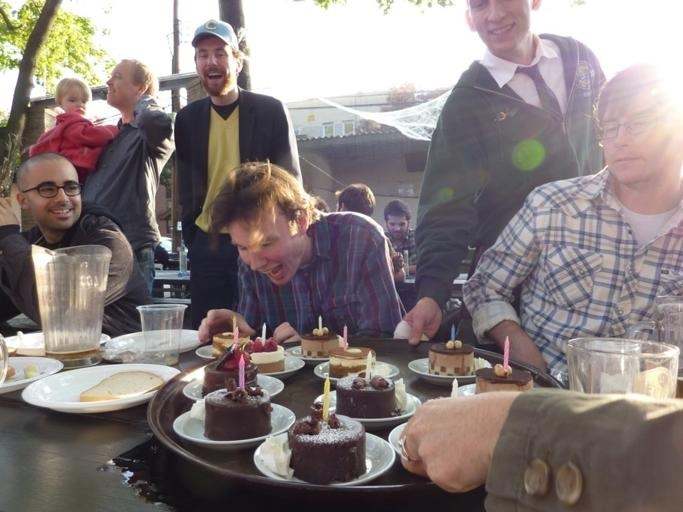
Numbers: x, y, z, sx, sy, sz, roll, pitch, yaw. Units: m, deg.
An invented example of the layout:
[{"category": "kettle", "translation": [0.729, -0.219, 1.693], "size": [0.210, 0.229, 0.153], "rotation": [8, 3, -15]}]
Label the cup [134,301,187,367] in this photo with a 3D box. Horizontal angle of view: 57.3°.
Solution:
[{"category": "cup", "translation": [-0.826, 0.359, 2.993], "size": [0.267, 0.283, 0.250], "rotation": [4, 5, 0]}]

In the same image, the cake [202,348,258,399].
[{"category": "cake", "translation": [-0.478, 0.485, 2.624], "size": [0.176, 0.108, 0.178], "rotation": [8, 8, 30]}]

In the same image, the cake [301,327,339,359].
[{"category": "cake", "translation": [-0.107, 0.444, 3.225], "size": [0.149, 0.091, 0.150], "rotation": [3, 3, 28]}]

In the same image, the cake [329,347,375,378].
[{"category": "cake", "translation": [0.032, 0.493, 2.911], "size": [0.172, 0.098, 0.172], "rotation": [0, -6, 7]}]

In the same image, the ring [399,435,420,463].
[{"category": "ring", "translation": [0.193, 0.562, 1.810], "size": [0.051, 0.024, 0.063], "rotation": [10, 38, -27]}]

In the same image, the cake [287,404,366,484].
[{"category": "cake", "translation": [-0.050, 0.614, 2.080], "size": [0.206, 0.149, 0.200], "rotation": [-1, 1, -38]}]

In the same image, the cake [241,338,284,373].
[{"category": "cake", "translation": [-0.360, 0.465, 2.934], "size": [0.148, 0.103, 0.147], "rotation": [0, -3, -2]}]

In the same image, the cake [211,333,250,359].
[{"category": "cake", "translation": [-0.577, 0.447, 3.118], "size": [0.125, 0.075, 0.123], "rotation": [1, -4, 5]}]

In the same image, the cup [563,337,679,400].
[{"category": "cup", "translation": [0.813, 0.331, 1.836], "size": [0.196, 0.183, 0.253], "rotation": [2, -8, -2]}]

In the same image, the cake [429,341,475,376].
[{"category": "cake", "translation": [0.499, 0.458, 2.841], "size": [0.168, 0.122, 0.166], "rotation": [-1, -6, -1]}]

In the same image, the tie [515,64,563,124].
[{"category": "tie", "translation": [1.142, -0.938, 3.654], "size": [0.074, 0.372, 0.097], "rotation": [-24, -14, 27]}]
